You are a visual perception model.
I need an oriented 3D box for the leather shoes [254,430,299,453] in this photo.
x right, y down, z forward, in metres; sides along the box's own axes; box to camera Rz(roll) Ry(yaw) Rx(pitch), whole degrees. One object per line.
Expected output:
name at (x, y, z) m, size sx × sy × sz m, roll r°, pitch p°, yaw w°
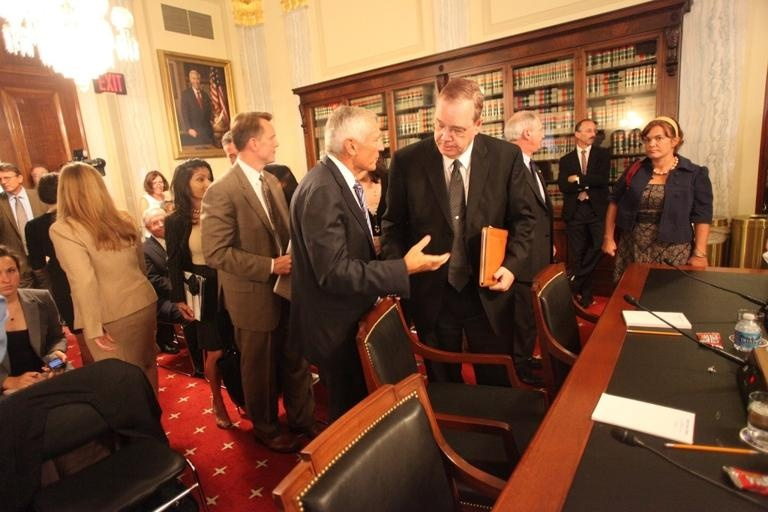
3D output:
leather shoes at (-0.730, 1.292, 3.665) m, size 0.320 × 0.107 × 0.133 m, roll 1°, pitch 7°, yaw 20°

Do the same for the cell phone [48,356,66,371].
cell phone at (-2.105, 0.707, 3.380) m, size 0.094 × 0.107 × 0.075 m, roll -10°, pitch 55°, yaw 32°

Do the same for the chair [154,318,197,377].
chair at (-1.873, 0.830, 4.722) m, size 0.401 × 0.279 × 0.558 m, roll 8°, pitch 4°, yaw 15°

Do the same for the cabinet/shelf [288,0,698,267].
cabinet/shelf at (1.231, -1.167, 4.735) m, size 3.133 × 2.175 × 0.553 m, roll -1°, pitch 7°, yaw 24°

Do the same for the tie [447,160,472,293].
tie at (0.468, -0.192, 3.284) m, size 0.136 × 0.781 × 0.199 m, roll -2°, pitch 15°, yaw 7°
